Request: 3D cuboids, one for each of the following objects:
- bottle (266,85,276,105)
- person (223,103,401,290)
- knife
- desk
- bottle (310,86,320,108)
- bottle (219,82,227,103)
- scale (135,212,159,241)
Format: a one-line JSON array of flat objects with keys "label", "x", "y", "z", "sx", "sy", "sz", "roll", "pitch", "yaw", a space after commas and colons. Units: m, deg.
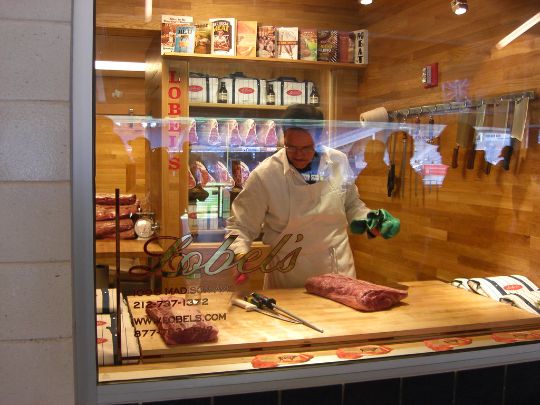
[{"label": "bottle", "x": 0.003, "y": -0.340, "z": 1.421, "sx": 0.032, "sy": 0.067, "sz": 0.009, "roll": -2, "pitch": 6, "yaw": 0}, {"label": "person", "x": 0.113, "y": -0.032, "z": 1.474, "sx": 0.574, "sy": 0.816, "sz": 0.337, "roll": -6, "pitch": 13, "yaw": -27}, {"label": "knife", "x": 0.809, "y": -0.257, "z": 1.690, "sx": 0.323, "sy": 0.287, "sz": 0.072, "roll": -2, "pitch": 2, "yaw": -22}, {"label": "desk", "x": -0.466, "y": 0.202, "z": 1.520, "sx": 0.187, "sy": 0.202, "sz": 0.333, "roll": 7, "pitch": -10, "yaw": -28}, {"label": "bottle", "x": 0.141, "y": -0.339, "z": 1.441, "sx": 0.035, "sy": 0.069, "sz": 0.009, "roll": -2, "pitch": 6, "yaw": -8}, {"label": "bottle", "x": -0.144, "y": -0.339, "z": 1.389, "sx": 0.029, "sy": 0.069, "sz": 0.013, "roll": -3, "pitch": 6, "yaw": -18}, {"label": "scale", "x": -0.374, "y": 0.071, "z": 1.362, "sx": 0.088, "sy": 0.076, "sz": 0.063, "roll": 1, "pitch": 3, "yaw": -2}]
